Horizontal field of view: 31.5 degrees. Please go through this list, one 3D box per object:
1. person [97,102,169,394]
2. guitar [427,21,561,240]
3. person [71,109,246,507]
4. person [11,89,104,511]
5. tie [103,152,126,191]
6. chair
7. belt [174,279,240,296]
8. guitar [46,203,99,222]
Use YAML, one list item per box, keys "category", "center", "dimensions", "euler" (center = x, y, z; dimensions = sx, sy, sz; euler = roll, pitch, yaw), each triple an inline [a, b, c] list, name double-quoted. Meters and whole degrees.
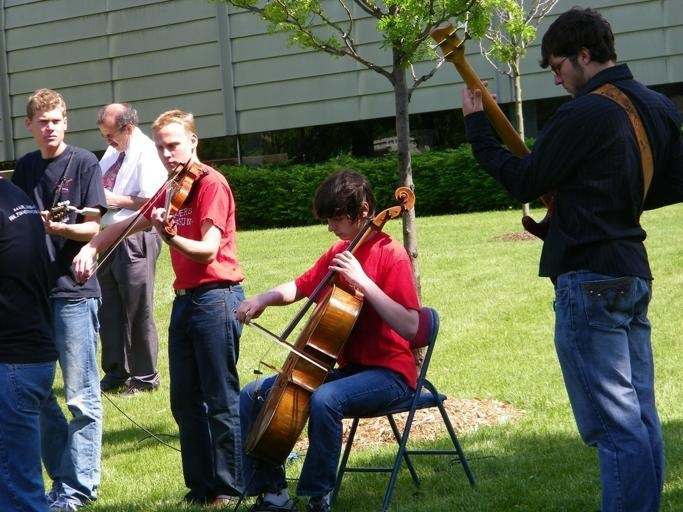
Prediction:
- category: "person"
  center: [-2.327, 0.038, 12.663]
  dimensions: [0.769, 3.608, 0.826]
  euler: [11, 13, 25]
- category: "guitar"
  center: [1.262, -1.067, 9.785]
  dimensions: [0.170, 1.949, 0.688]
  euler: [-24, -1, 1]
- category: "person"
  center: [-1.324, 0.461, 10.323]
  dimensions: [1.058, 3.285, 0.895]
  euler: [-1, 13, 14]
- category: "person"
  center: [-2.508, 0.362, 10.537]
  dimensions: [0.922, 3.416, 1.031]
  euler: [2, 13, -1]
- category: "tie"
  center: [-2.324, -0.862, 12.656]
  dimensions: [0.202, 0.419, 0.115]
  euler: [24, 3, 34]
- category: "chair"
  center: [0.520, 1.398, 10.430]
  dimensions: [1.025, 1.813, 1.094]
  euler: [7, 13, 38]
- category: "belt"
  center: [-1.142, 0.260, 10.298]
  dimensions: [0.546, 0.114, 0.179]
  euler: [-8, 14, -6]
- category: "guitar"
  center: [-2.286, -0.378, 10.335]
  dimensions: [0.318, 0.160, 0.212]
  euler: [-2, -7, -10]
